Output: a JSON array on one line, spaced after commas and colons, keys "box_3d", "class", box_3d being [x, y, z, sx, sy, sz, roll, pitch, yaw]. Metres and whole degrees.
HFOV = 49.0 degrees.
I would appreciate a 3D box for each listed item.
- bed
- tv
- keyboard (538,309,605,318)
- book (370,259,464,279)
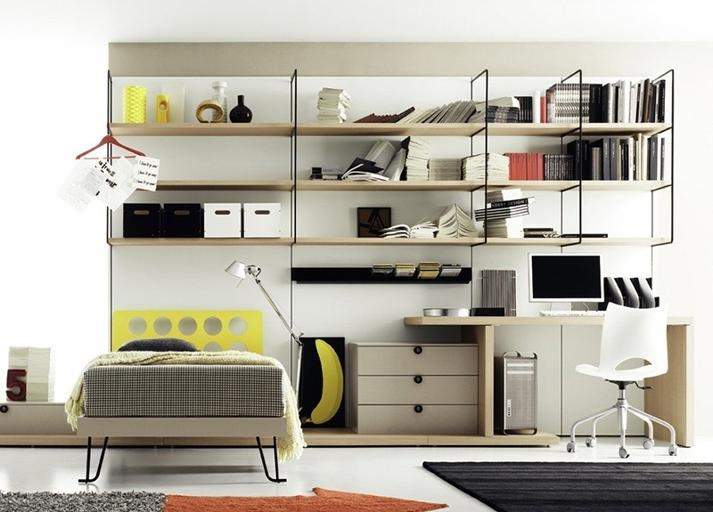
[{"box_3d": [-1.164, 1.051, 5.320, 1.404, 0.818, 0.702, 0, 4, -1], "class": "bed"}, {"box_3d": [1.737, 0.206, 6.416, 0.581, 0.335, 0.044, 0, -4, 4], "class": "tv"}, {"box_3d": [1.711, 0.466, 6.199, 0.480, 0.059, 0.446, 1, 4, 11], "class": "keyboard"}, {"box_3d": [0.517, 0.131, 6.595, 0.778, 0.141, 0.140, 0, 4, -4], "class": "book"}]
